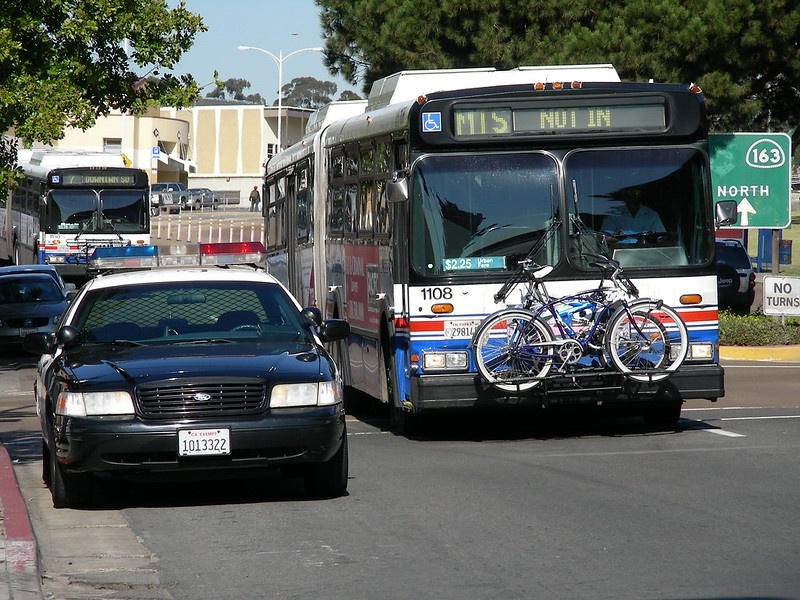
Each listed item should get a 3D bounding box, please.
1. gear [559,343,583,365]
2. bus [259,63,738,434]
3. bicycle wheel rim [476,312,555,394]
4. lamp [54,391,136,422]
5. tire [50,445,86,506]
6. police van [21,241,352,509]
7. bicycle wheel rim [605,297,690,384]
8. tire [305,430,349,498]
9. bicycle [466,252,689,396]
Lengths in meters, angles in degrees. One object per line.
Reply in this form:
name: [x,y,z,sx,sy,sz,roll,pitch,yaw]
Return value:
gear: [1.796,0.559,11.171,0.217,0.212,0.070,3,7,-5]
bus: [0.590,-0.861,17.039,3.701,4.118,11.815,-3,4,-13]
bicycle wheel rim: [1.218,0.555,11.179,0.853,0.837,0.155,1,4,4]
lamp: [-2.457,0.837,8.482,0.420,0.135,0.291,-1,-1,-2]
tire: [-2.751,1.448,8.741,0.217,0.549,0.551,-2,6,-20]
police van: [-1.971,0.764,9.497,2.552,2.071,2.633,-6,4,-20]
bicycle wheel rim: [2.647,0.449,11.271,0.957,0.921,0.320,3,7,-7]
tire: [-0.634,1.380,8.941,0.254,0.644,0.651,-1,3,5]
bicycle: [1.929,0.286,11.268,2.662,1.538,1.137,-5,-8,-3]
